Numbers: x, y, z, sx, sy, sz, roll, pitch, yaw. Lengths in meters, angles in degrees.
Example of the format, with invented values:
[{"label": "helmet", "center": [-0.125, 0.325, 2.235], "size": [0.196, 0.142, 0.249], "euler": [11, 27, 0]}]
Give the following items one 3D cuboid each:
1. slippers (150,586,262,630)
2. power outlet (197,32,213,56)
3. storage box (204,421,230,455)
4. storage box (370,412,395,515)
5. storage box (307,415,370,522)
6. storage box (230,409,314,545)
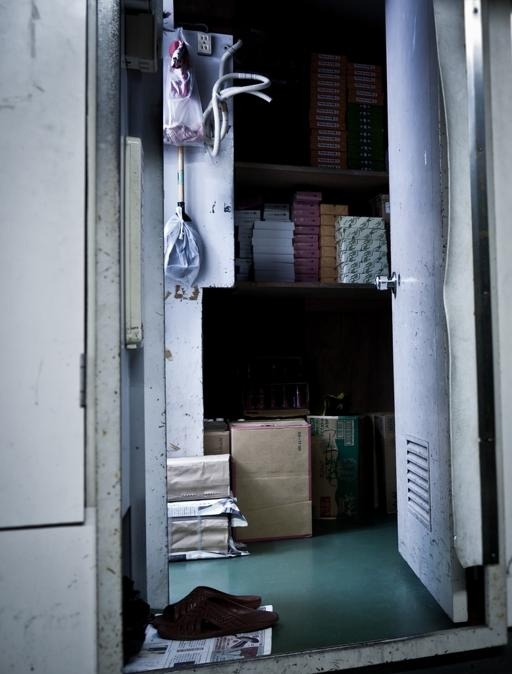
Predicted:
[{"label": "slippers", "center": [-0.162, 0.853, 2.523], "size": [0.236, 0.094, 0.136], "euler": [7, -17, -26]}, {"label": "power outlet", "center": [-0.239, -1.339, 3.587], "size": [0.074, 0.149, 0.015], "euler": [0, -2, -23]}, {"label": "storage box", "center": [-0.181, 0.449, 3.556], "size": [0.131, 0.177, 0.093], "euler": [0, -5, -5]}, {"label": "storage box", "center": [0.606, 0.594, 3.766], "size": [0.086, 0.451, 0.213], "euler": [0, 1, -16]}, {"label": "storage box", "center": [0.379, 0.593, 3.876], "size": [0.272, 0.778, 0.454], "euler": [0, -2, 0]}, {"label": "storage box", "center": [0.071, 0.611, 3.337], "size": [0.324, 0.678, 0.386], "euler": [0, -11, -6]}]
